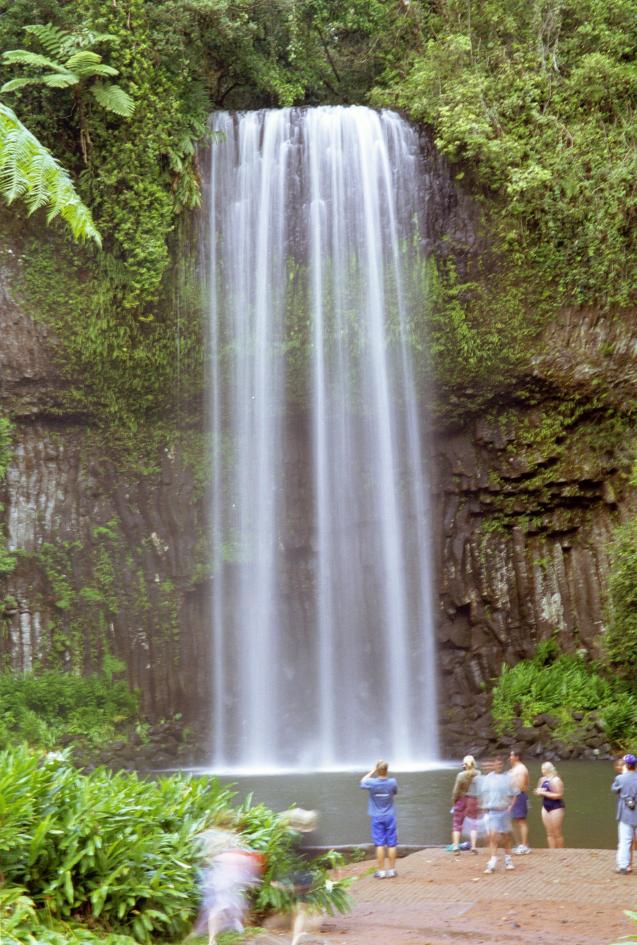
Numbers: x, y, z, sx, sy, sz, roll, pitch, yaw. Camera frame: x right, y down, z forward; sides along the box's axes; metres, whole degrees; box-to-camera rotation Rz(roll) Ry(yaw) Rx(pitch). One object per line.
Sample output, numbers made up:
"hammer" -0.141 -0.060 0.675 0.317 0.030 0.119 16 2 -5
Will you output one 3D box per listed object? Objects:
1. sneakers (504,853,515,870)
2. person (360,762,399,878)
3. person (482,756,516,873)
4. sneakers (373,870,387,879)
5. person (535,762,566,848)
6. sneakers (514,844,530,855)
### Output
"sneakers" 2.081 4.268 13.708 0.069 0.085 0.199 -5 -29 15
"person" 0.717 3.862 14.245 0.365 1.229 1.162 -8 -7 0
"person" 1.980 3.780 13.948 0.422 1.119 0.840 -8 -7 7
"sneakers" 0.676 4.386 13.722 0.060 0.062 0.152 3 -6 -11
"person" 2.716 3.870 14.718 0.292 1.027 1.069 -9 -7 9
"sneakers" 2.313 4.274 14.316 0.159 0.107 0.227 -8 -7 7
